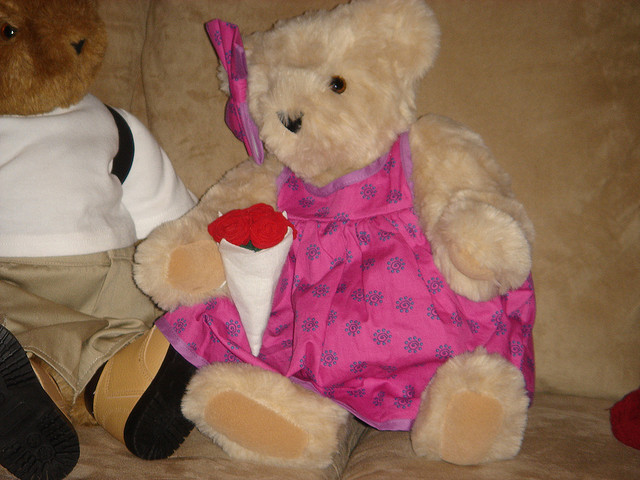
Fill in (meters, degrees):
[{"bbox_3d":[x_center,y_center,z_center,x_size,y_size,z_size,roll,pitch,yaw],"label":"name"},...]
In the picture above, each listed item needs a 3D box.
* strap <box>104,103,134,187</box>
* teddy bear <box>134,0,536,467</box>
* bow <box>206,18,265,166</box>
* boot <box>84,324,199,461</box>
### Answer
[{"bbox_3d":[-0.457,-0.226,1.794,0.032,0.151,0.145,-2,-4,12],"label":"strap"},{"bbox_3d":[0.063,0.014,1.725,0.735,0.993,0.555,-5,10,17],"label":"teddy bear"},{"bbox_3d":[-0.173,-0.348,1.823,0.096,0.379,0.116,-14,14,2],"label":"bow"},{"bbox_3d":[-0.382,0.257,1.774,0.164,0.403,0.137,-22,-45,33],"label":"boot"}]
